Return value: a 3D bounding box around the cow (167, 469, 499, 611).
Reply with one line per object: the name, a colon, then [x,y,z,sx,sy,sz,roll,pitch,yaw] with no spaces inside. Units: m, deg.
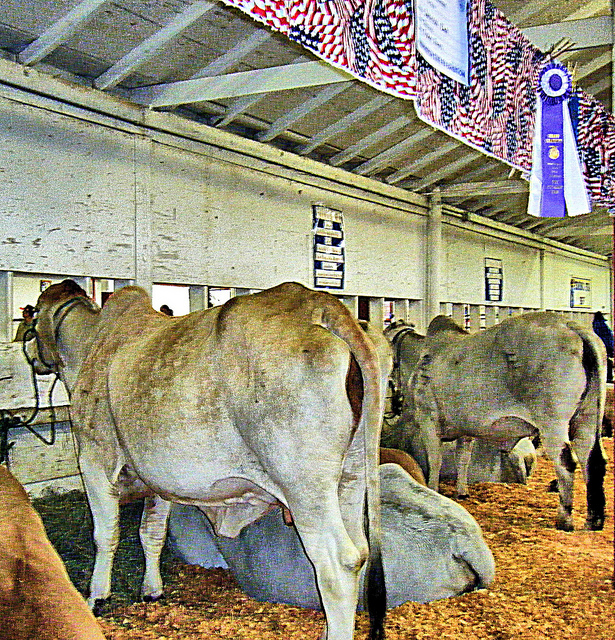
cow: [0.099,1.223,4.417,1.917,0.741,0.896,-2,-12,30]
